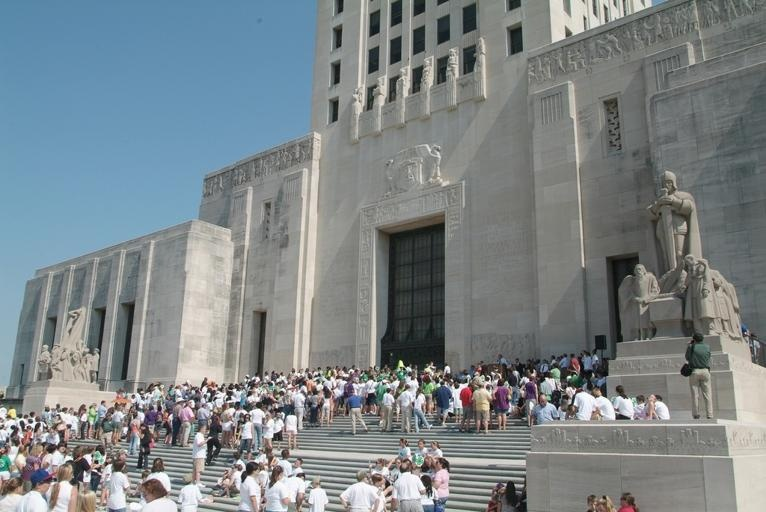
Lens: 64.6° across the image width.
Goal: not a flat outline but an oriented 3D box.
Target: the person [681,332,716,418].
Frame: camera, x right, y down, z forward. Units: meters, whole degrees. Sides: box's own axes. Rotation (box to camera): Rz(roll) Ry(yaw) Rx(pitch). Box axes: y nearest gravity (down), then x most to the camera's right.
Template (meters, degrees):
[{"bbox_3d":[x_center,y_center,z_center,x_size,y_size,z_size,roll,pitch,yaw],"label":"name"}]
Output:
[{"bbox_3d":[7.756,2.986,14.934,0.649,1.577,2.140,-8,3,27],"label":"person"}]
